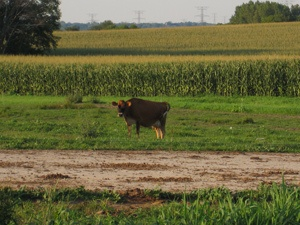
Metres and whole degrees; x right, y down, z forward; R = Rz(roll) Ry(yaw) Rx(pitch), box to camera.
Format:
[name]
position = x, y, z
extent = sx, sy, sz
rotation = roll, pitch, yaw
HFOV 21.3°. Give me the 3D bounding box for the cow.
[cow]
position = -0.354, 0.590, 53.928
extent = 4.295, 2.801, 1.210
rotation = 2, -4, -31
